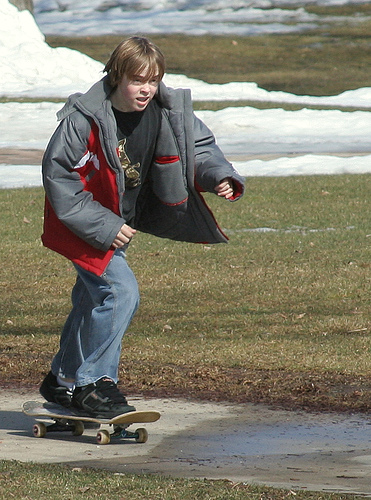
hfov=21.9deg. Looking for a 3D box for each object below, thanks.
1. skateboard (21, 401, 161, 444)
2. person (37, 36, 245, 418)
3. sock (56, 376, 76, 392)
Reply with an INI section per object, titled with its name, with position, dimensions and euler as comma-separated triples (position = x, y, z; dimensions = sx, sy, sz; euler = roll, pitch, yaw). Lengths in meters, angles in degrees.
[skateboard]
position = -0.539, 0.925, 5.170
dimensions = 0.845, 0.149, 0.277
euler = -1, -2, 43
[person]
position = -0.321, -0.122, 5.279
dimensions = 1.062, 2.031, 0.663
euler = 0, 7, -31
[sock]
position = -0.670, 0.768, 5.433
dimensions = 0.097, 0.089, 0.152
euler = 1, 5, -24
